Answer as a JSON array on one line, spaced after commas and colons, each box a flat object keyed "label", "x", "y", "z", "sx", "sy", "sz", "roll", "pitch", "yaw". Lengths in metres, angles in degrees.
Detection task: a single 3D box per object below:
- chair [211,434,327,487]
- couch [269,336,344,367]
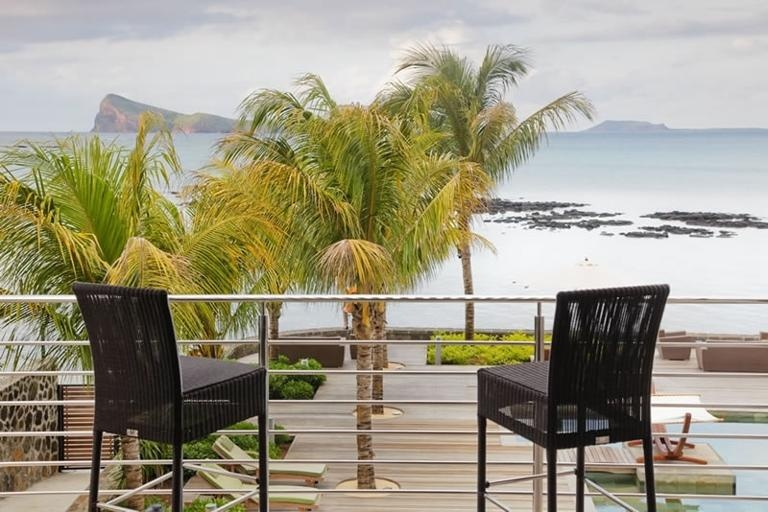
[{"label": "chair", "x": -3.243, "y": 6.063, "z": 27.715, "sx": 4.148, "sy": 1.486, "sz": 1.550, "roll": 1, "pitch": 5, "yaw": -1}, {"label": "couch", "x": -2.775, "y": 3.580, "z": 35.619, "sx": 2.591, "sy": 0.960, "sz": 2.178, "roll": 1, "pitch": 2, "yaw": 11}]
